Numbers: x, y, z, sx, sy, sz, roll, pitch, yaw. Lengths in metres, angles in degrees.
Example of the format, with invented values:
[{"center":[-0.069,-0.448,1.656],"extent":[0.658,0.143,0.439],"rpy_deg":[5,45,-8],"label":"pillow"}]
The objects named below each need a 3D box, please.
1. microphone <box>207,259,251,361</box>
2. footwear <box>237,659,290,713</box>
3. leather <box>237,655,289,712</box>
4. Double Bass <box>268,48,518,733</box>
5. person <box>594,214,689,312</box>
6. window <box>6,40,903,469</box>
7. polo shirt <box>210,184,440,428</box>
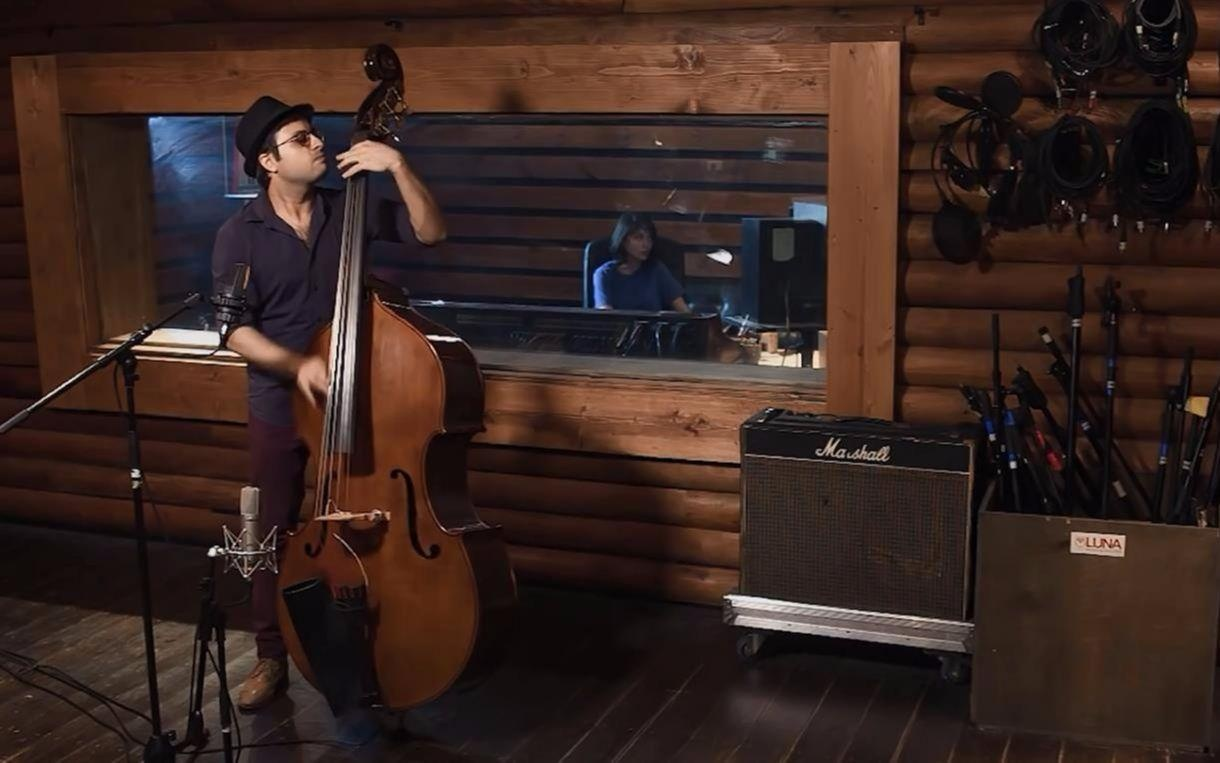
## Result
[{"center":[-1.639,-0.331,4.298],"extent":[0.124,0.388,0.171],"rpy_deg":[18,3,-17],"label":"microphone"},{"center":[-1.603,1.401,4.622],"extent":[0.119,0.139,0.335],"rpy_deg":[6,4,12],"label":"footwear"},{"center":[-1.633,1.395,4.628],"extent":[0.119,0.138,0.339],"rpy_deg":[5,3,11],"label":"leather"},{"center":[-0.919,0.324,4.153],"extent":[1.004,2.100,0.624],"rpy_deg":[-2,12,-3],"label":"Double Bass"},{"center":[0.225,-0.736,6.323],"extent":[0.650,0.752,0.449],"rpy_deg":[-4,0,-14],"label":"person"},{"center":[-0.707,-0.808,5.566],"extent":[4.665,1.874,0.285],"rpy_deg":[-3,8,-9],"label":"window"},{"center":[-1.577,-0.315,4.781],"extent":[0.648,1.174,0.360],"rpy_deg":[3,5,-23],"label":"polo shirt"}]
